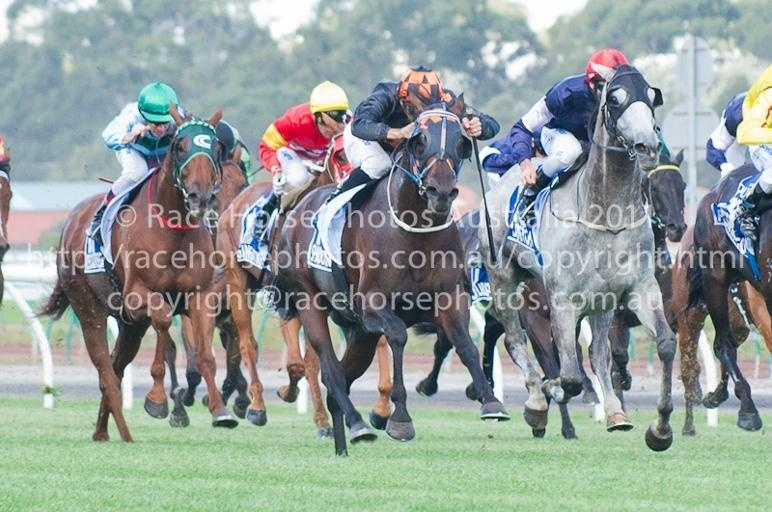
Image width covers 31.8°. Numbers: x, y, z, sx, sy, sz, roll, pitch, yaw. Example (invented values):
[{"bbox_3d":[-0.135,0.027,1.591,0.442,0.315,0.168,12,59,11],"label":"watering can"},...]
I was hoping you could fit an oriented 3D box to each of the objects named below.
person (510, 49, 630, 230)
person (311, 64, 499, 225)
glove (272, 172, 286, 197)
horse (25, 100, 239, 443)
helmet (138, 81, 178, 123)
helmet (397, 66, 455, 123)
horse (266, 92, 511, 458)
[{"bbox_3d":[1.663,-1.229,13.320,0.955,1.374,1.818,5,-4,-34],"label":"person"},{"bbox_3d":[0.070,-1.120,12.626,1.049,0.817,1.667,-6,-9,-37],"label":"person"},{"bbox_3d":[-1.104,-0.762,14.125,0.152,0.229,0.095,9,-9,-38],"label":"glove"},{"bbox_3d":[-2.265,0.214,13.391,1.967,3.216,0.920,-9,-11,35],"label":"horse"},{"bbox_3d":[-2.271,-1.557,13.376,0.341,0.436,0.256,-10,-39,-20],"label":"helmet"},{"bbox_3d":[0.326,-1.453,12.321,0.414,0.515,0.248,5,-30,-6],"label":"helmet"},{"bbox_3d":[0.041,0.267,12.470,2.021,3.084,0.747,-10,-12,40],"label":"horse"}]
